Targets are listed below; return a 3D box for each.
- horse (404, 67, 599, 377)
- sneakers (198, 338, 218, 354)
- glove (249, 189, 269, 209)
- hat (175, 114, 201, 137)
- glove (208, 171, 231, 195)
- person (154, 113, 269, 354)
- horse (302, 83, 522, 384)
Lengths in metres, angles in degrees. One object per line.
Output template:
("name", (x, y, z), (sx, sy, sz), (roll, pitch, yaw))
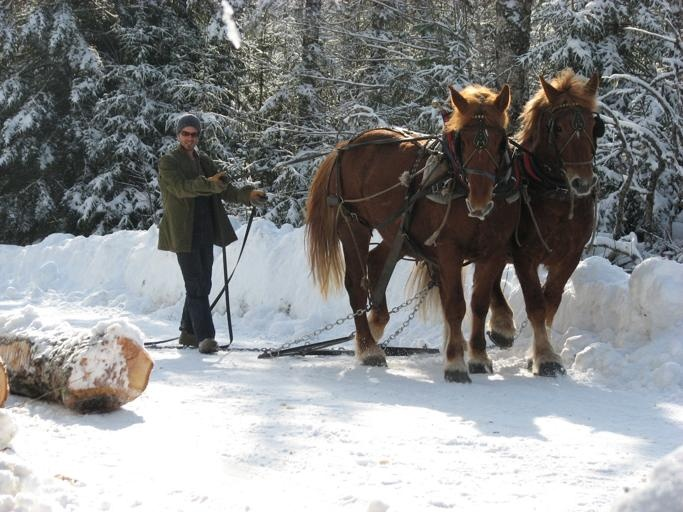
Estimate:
("horse", (2.581, -0.439, 12.204), (1.382, 3.778, 0.809), (2, 3, 29))
("sneakers", (-1.801, 1.201, 13.118), (0.252, 0.193, 0.194), (0, 3, -11))
("glove", (-1.135, -0.785, 13.072), (0.226, 0.235, 0.221), (1, 3, -2))
("hat", (-2.095, -1.795, 13.341), (0.231, 0.328, 0.218), (0, 33, -8))
("glove", (-1.632, -0.996, 12.903), (0.274, 0.247, 0.230), (0, 3, -16))
("person", (-1.908, -0.325, 13.339), (1.190, 3.217, 0.826), (2, 3, 29))
("horse", (1.060, -0.220, 12.965), (1.714, 3.572, 4.757), (-4, 6, -27))
